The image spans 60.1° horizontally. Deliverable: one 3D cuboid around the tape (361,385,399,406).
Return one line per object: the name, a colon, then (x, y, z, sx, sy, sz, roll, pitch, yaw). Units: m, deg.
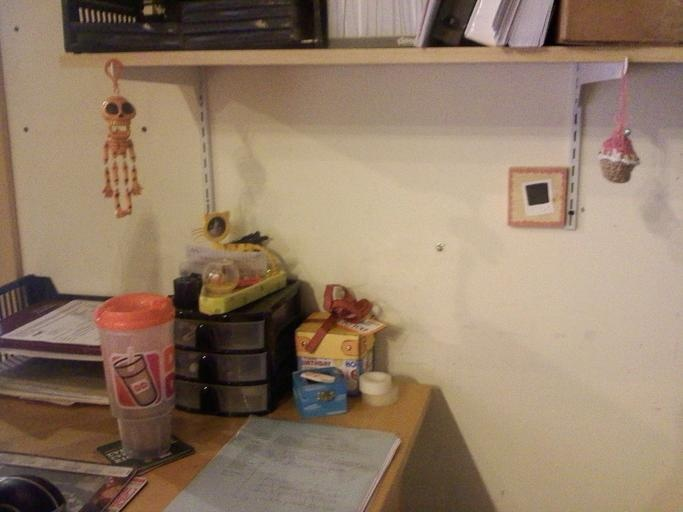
tape: (0.096, 0.361, 1.539, 0.052, 0.017, 0.052, -3, 5, -24)

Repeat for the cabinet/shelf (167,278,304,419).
cabinet/shelf: (-0.274, 0.249, 1.592, 0.239, 0.227, 0.321, 3, 7, 18)

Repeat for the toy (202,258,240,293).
toy: (-0.309, 0.045, 1.501, 0.081, 0.073, 0.080, 6, 8, 29)

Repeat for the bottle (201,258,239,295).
bottle: (-0.310, 0.049, 1.473, 0.083, 0.078, 0.082, 1, 4, -12)

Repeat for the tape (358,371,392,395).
tape: (0.086, 0.325, 1.564, 0.061, 0.022, 0.060, -2, 11, -8)

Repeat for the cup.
cup: (-0.459, 0.267, 1.365, 0.175, 0.352, 0.162, -1, 15, 0)

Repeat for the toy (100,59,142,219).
toy: (-0.623, -0.305, 1.651, 0.106, 0.438, 0.408, -7, 16, -21)
